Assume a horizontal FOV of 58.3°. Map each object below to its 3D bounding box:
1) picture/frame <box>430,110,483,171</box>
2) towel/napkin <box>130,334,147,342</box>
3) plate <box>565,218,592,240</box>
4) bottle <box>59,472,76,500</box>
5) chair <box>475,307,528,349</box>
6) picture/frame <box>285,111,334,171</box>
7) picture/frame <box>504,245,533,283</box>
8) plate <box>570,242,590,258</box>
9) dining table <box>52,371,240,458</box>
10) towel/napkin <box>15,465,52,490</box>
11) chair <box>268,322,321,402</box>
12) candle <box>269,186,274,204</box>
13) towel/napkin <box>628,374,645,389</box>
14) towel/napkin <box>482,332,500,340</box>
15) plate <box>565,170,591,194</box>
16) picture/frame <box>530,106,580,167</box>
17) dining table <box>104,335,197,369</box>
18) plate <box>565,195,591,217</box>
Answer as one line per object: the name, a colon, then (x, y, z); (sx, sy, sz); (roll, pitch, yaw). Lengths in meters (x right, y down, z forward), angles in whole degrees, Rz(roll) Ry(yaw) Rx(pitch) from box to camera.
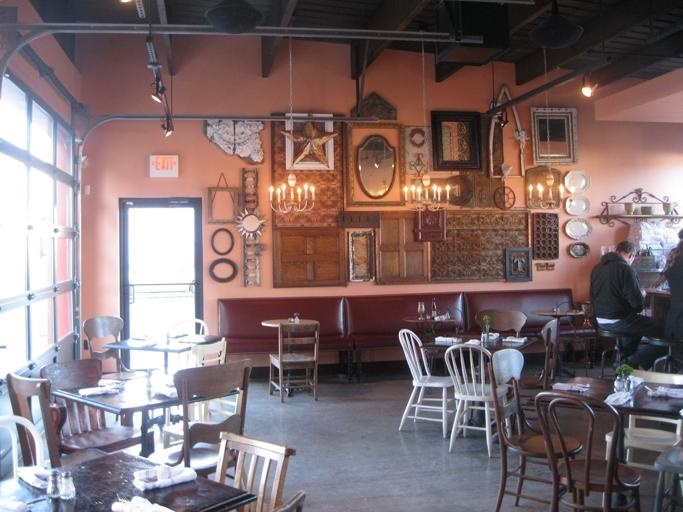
picture/frame: (1.962, -2.006, 10.600); (1.109, 1.208, 0.129); (0, -1, -14)
towel/napkin: (-2.805, 1.121, 8.448); (0.280, 0.062, 0.254); (2, 0, 1)
plate: (4.259, -0.496, 10.999); (0.483, 0.399, 0.110); (-2, -1, -17)
bottle: (-1.794, 1.483, 3.994); (0.101, 0.140, 0.162); (-2, 0, -24)
chair: (2.152, 0.907, 8.140); (0.648, 0.871, 0.621); (0, -7, 5)
picture/frame: (-0.562, -1.899, 10.077); (1.054, 0.875, 0.145); (0, 0, -8)
picture/frame: (3.119, 0.138, 10.807); (0.678, 0.752, 0.086); (1, -2, -13)
plate: (4.288, -0.119, 11.009); (0.384, 0.287, 0.092); (-2, 0, -16)
dining table: (-1.989, 1.304, 5.752); (1.249, 0.753, 1.264); (3, 2, 28)
towel/napkin: (-2.093, 1.510, 4.188); (0.135, 0.044, 0.226); (25, 13, 41)
chair: (-0.686, 1.436, 8.928); (0.745, 0.984, 1.584); (-2, 0, -3)
candle: (-1.131, -1.016, 9.984); (0.073, 0.251, 0.289); (-2, 0, -9)
towel/napkin: (2.742, 1.137, 5.654); (0.146, 0.064, 0.192); (0, -3, 1)
towel/napkin: (1.857, 0.977, 7.518); (0.165, 0.039, 0.150); (1, -1, -24)
plate: (4.226, -1.339, 10.963); (0.463, 0.433, 0.094); (-2, -1, -14)
picture/frame: (3.783, -2.134, 10.919); (1.120, 1.294, 0.140); (0, -2, -10)
dining table: (-2.378, 1.138, 7.811); (0.691, 0.656, 0.682); (-1, -4, 3)
plate: (4.251, -0.915, 10.982); (0.463, 0.360, 0.066); (-3, 8, -10)
